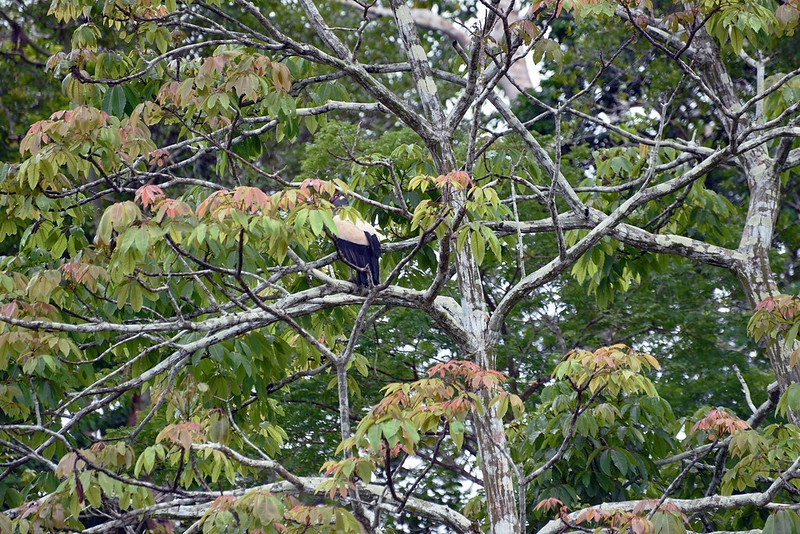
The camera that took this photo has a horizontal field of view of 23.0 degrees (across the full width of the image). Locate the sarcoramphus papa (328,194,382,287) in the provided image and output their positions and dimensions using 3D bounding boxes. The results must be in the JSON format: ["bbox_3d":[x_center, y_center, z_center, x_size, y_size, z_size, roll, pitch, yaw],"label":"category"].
[{"bbox_3d":[-0.575,-0.496,27.387,0.873,1.409,0.593,3,0,40],"label":"sarcoramphus papa"}]
